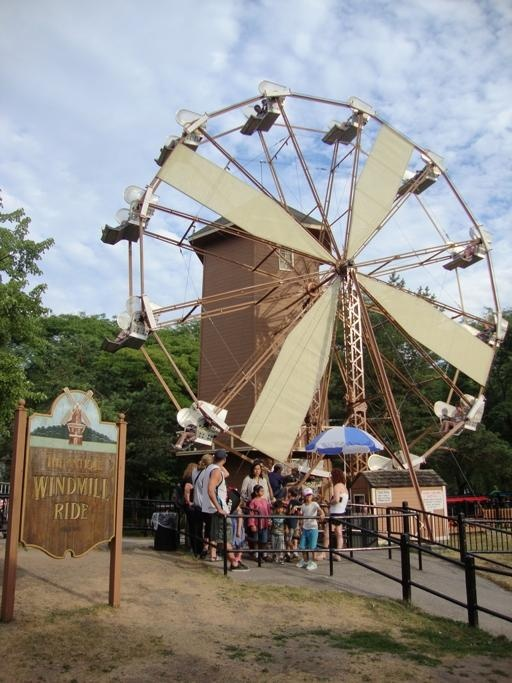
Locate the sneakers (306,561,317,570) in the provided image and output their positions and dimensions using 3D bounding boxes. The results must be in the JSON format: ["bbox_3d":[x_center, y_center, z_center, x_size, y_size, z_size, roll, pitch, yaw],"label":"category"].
[{"bbox_3d":[1.010,4.032,10.205,0.091,0.093,0.224,4,-9,-2],"label":"sneakers"}]

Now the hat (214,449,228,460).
[{"bbox_3d":[-0.549,1.770,8.986,0.190,0.196,0.204,6,19,6],"label":"hat"}]

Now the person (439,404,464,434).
[{"bbox_3d":[6.503,2.467,18.573,0.747,0.952,0.354,0,-16,23],"label":"person"}]

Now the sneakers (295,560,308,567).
[{"bbox_3d":[0.841,4.072,10.364,0.226,0.089,0.086,-13,-26,35],"label":"sneakers"}]

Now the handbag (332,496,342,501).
[{"bbox_3d":[1.615,3.081,11.115,0.210,0.110,0.111,-9,-28,23],"label":"handbag"}]

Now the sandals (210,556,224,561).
[{"bbox_3d":[-0.742,4.014,10.464,0.214,0.047,0.179,1,-2,-1],"label":"sandals"}]

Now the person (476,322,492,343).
[{"bbox_3d":[7.784,-0.318,19.121,0.394,0.678,0.556,8,-14,-8],"label":"person"}]
